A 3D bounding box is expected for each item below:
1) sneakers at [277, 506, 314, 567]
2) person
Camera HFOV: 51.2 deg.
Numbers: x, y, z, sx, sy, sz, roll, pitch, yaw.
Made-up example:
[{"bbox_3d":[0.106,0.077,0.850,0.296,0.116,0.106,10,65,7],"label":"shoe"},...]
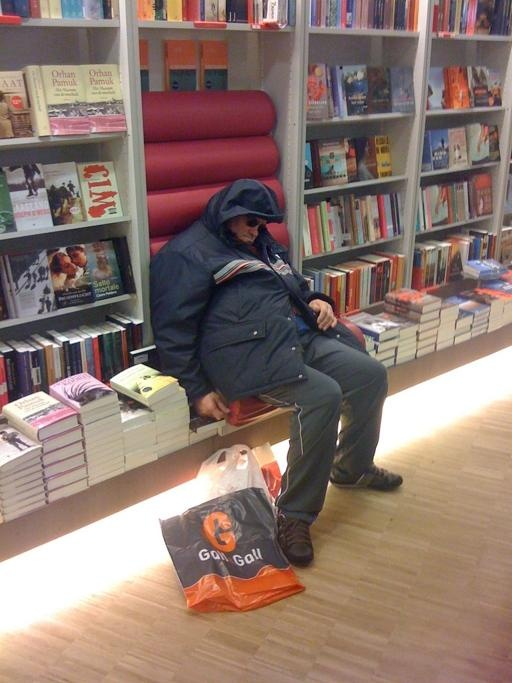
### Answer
[{"bbox_3d":[0.114,0.656,1.801,0.072,0.078,0.205,0,12,-16],"label":"sneakers"},{"bbox_3d":[0.072,0.034,2.151,0.794,1.272,0.811,10,22,33],"label":"person"}]
